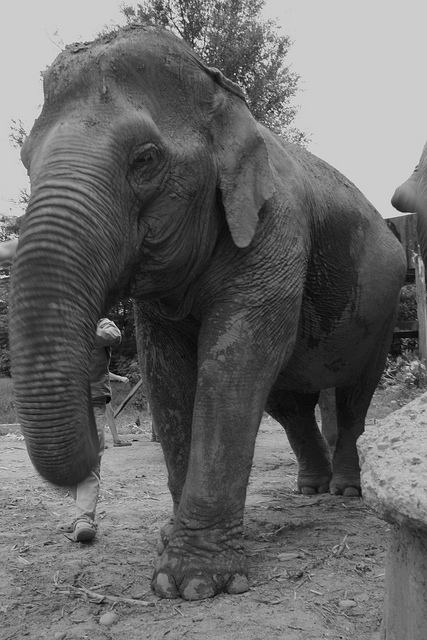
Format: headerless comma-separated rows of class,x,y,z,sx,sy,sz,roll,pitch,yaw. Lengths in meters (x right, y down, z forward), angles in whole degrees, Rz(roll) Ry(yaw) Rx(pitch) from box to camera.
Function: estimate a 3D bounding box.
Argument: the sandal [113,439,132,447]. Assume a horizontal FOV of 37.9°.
sandal,-1.246,1.685,8.421,0.267,0.102,0.085,1,-7,-4
